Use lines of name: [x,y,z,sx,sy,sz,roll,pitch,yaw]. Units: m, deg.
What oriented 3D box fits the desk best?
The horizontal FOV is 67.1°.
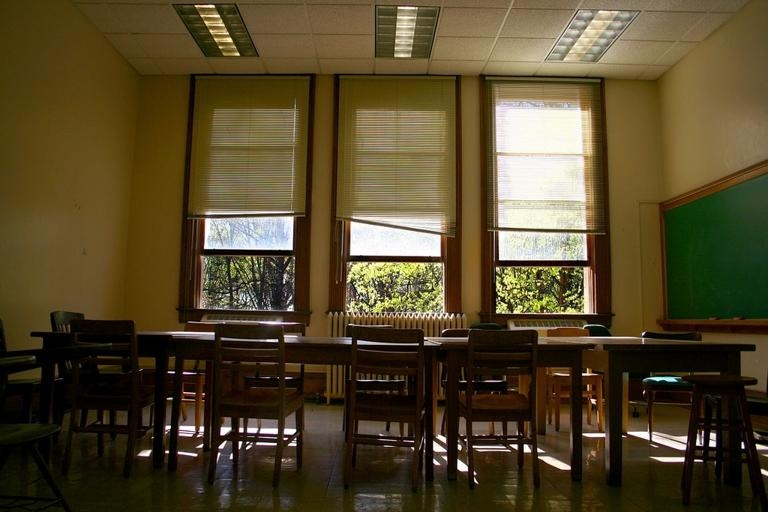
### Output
desk: [2.828,1.417,5.749,1.170,1.072,1.450,-3,-10,22]
